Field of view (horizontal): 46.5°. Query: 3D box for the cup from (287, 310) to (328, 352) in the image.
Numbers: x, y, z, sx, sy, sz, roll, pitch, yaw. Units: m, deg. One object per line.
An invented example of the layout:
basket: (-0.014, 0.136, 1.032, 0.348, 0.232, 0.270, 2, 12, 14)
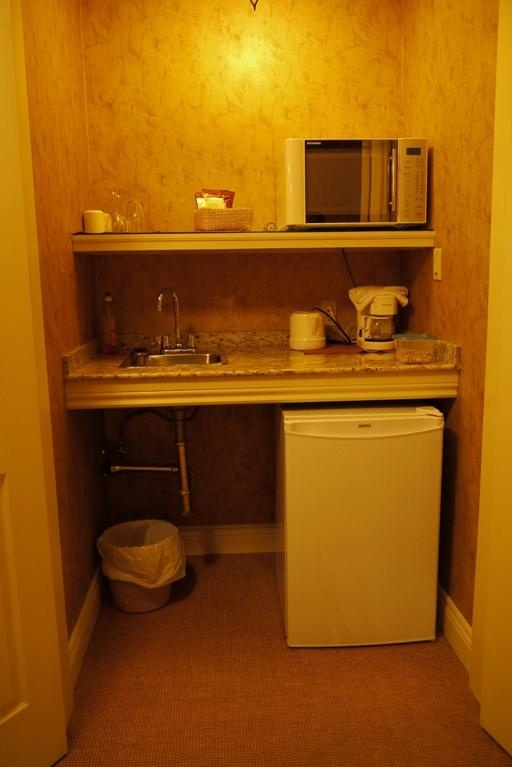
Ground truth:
cup: (0.193, -0.203, 2.214, 0.106, 0.146, 0.145, -3, 15, -9)

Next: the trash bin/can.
trash bin/can: (-0.403, 0.636, 2.115, 0.243, 0.230, 0.275, 0, -2, -6)

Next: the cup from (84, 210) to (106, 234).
cup: (-0.552, -0.546, 2.015, 0.053, 0.079, 0.096, 8, 16, 28)

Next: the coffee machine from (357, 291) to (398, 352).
coffee machine: (0.403, -0.215, 2.136, 0.111, 0.207, 0.193, -1, 6, -4)

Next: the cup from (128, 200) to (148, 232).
cup: (-0.438, -0.618, 2.188, 0.073, 0.143, 0.220, -2, 8, -12)
